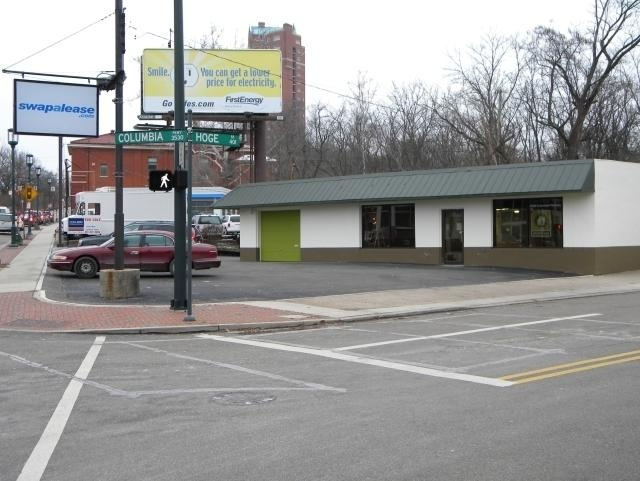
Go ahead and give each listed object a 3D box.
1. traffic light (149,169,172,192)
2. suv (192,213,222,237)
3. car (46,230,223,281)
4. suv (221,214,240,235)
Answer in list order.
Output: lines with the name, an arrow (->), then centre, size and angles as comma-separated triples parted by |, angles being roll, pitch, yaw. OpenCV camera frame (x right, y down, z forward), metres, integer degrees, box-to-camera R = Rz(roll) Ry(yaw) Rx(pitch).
traffic light -> -3.792, -1.434, 15.450 | 0.575, 0.646, 0.310 | 0, 1, -16
suv -> -7.474, -1.052, 44.080 | 1.296, 1.508, 2.521 | 0, -5, -17
car -> -6.924, 0.491, 23.904 | 5.626, 1.678, 0.874 | -1, 2, -10
suv -> -6.112, -1.086, 44.883 | 0.915, 0.994, 1.980 | -1, 4, -19
